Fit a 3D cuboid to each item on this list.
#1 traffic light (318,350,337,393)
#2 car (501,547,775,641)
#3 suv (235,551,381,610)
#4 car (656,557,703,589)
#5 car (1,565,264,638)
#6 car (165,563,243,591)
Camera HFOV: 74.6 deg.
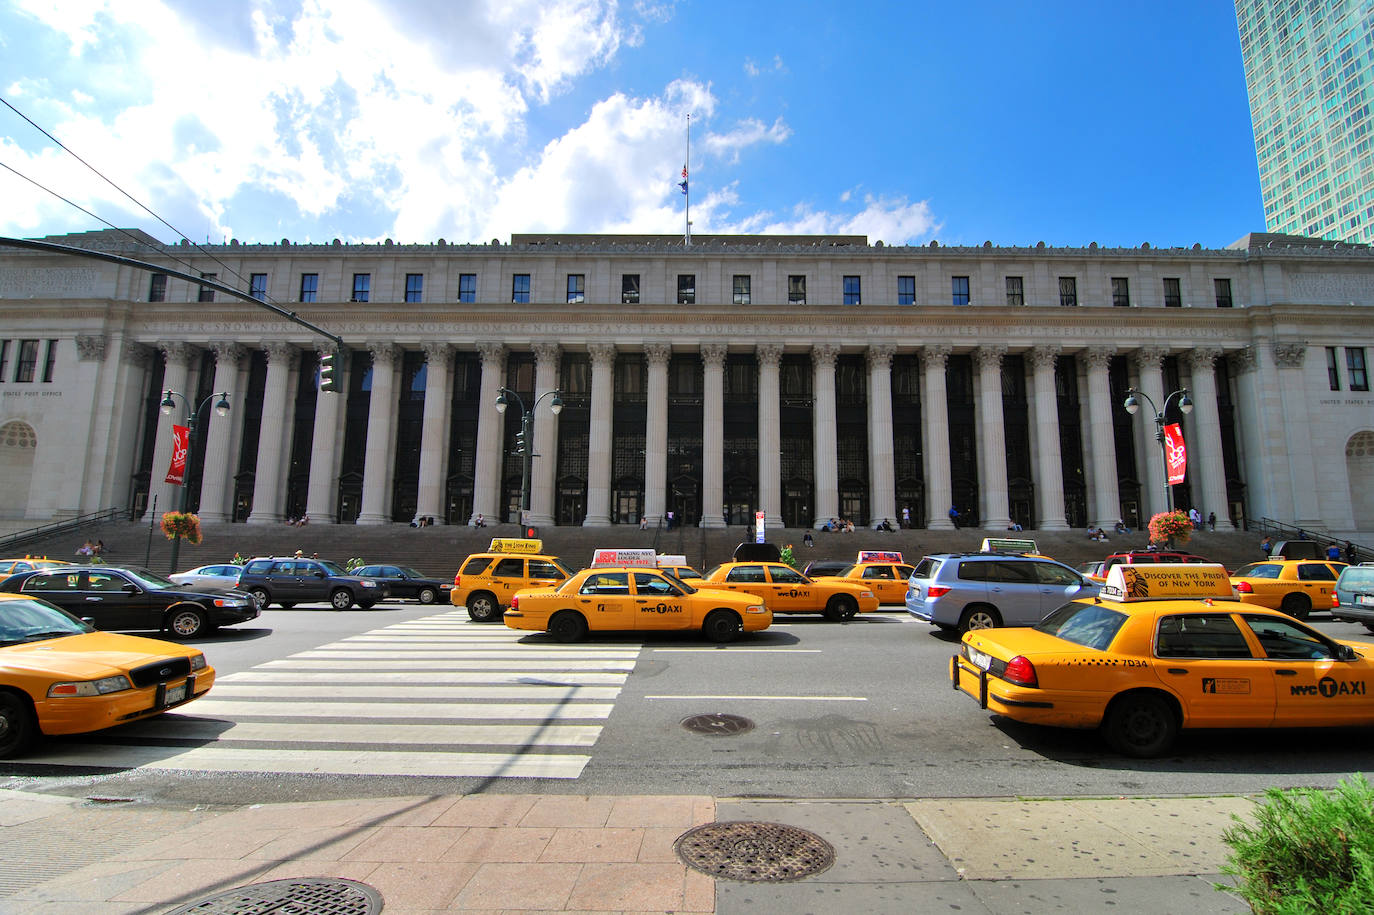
[{"bbox_3d":[-9.722,-2.383,24.577,0.492,1.161,0.876,1,-6,-20],"label":"traffic light"},{"bbox_3d":[-1.339,3.606,22.391,6.824,1.215,2.138,0,-10,-1],"label":"car"},{"bbox_3d":[-12.275,4.099,29.156,4.015,1.632,1.422,1,-6,-19],"label":"suv"},{"bbox_3d":[-0.274,3.967,30.447,2.541,0.778,1.376,-1,-1,4],"label":"car"},{"bbox_3d":[-13.499,3.489,22.021,6.002,1.188,2.004,1,-4,-18],"label":"car"},{"bbox_3d":[-16.040,3.851,28.789,3.570,0.776,1.357,0,-2,-22],"label":"car"}]
